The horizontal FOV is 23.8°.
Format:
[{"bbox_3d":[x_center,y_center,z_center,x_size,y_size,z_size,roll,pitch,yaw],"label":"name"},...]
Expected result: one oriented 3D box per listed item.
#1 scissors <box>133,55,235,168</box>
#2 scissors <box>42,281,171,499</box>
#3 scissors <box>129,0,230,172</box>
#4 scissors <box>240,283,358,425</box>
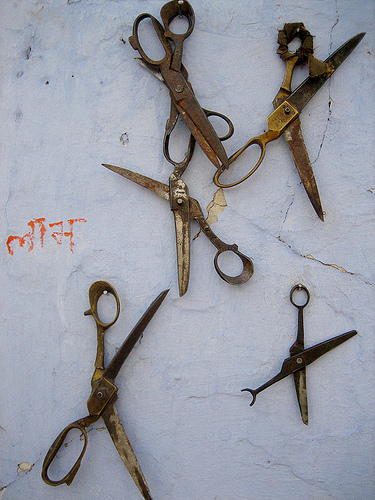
[{"bbox_3d":[-0.005,-0.303,1.899,0.296,0.141,0.030,56,2,13],"label":"scissors"},{"bbox_3d":[-0.145,0.308,1.923,0.249,0.447,0.254,13,-31,14],"label":"scissors"},{"bbox_3d":[-0.016,-0.360,1.986,0.193,0.392,0.071,-21,-10,-4],"label":"scissors"},{"bbox_3d":[0.249,0.227,1.926,0.169,0.258,0.143,24,-30,-5],"label":"scissors"}]
